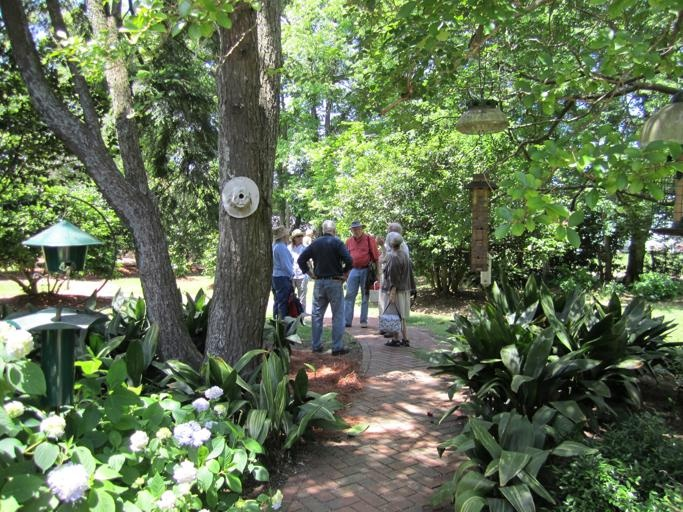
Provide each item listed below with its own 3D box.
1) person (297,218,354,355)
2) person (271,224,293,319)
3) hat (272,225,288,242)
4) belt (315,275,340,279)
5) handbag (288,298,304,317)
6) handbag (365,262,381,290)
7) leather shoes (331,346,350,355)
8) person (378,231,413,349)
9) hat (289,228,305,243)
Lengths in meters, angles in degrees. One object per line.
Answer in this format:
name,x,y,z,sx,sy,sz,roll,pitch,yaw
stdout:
person,-0.232,0.482,8.047,0.680,2.062,0.903,-4,6,-23
person,-0.974,0.276,8.385,0.326,1.509,0.489,-2,5,-8
hat,-1.010,-0.376,8.376,0.230,0.070,0.240,-41,-3,32
belt,-0.202,0.329,7.839,0.371,0.082,0.066,-2,5,0
handbag,-0.777,0.864,8.512,0.250,0.379,0.191,-2,-9,-3
handbag,0.561,0.347,9.392,0.176,0.502,0.488,4,9,15
leather shoes,-0.019,1.465,7.964,0.312,0.141,0.107,-8,29,-15
person,0.889,0.560,8.410,0.551,1.916,0.576,1,6,29
hat,-0.955,-0.434,10.103,0.246,0.088,0.223,-43,-16,31
